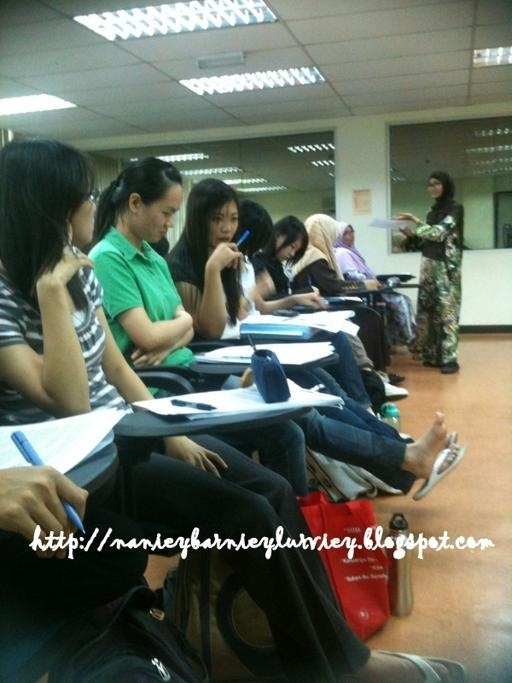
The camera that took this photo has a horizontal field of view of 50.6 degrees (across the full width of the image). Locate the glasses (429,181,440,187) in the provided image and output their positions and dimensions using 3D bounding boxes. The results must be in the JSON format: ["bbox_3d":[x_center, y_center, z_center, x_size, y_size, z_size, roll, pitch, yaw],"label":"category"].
[{"bbox_3d":[1.426,-1.262,4.334,0.048,0.059,0.031,-14,6,3],"label":"glasses"}]

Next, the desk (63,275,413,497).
[{"bbox_3d":[0.000,0.125,1.626,0.868,0.572,0.484,3,10,22],"label":"desk"}]

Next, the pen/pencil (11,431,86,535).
[{"bbox_3d":[-0.207,0.142,0.536,0.021,0.018,0.181,-11,40,-30],"label":"pen/pencil"}]
